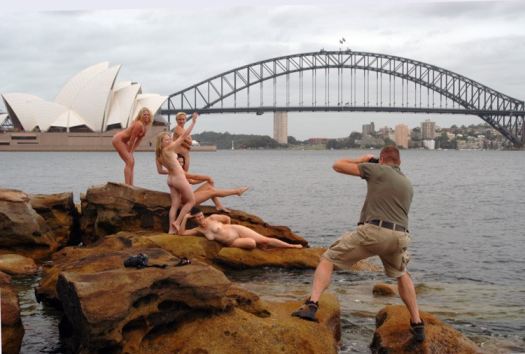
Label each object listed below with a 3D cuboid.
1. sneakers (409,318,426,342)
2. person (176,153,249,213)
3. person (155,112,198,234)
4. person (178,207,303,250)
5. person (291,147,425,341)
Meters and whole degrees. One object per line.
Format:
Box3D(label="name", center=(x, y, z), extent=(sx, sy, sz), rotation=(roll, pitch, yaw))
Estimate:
Box3D(label="sneakers", center=(2.322, 2.200, 8.424), extent=(0.157, 0.160, 0.476), rotation=(-11, 12, 21))
Box3D(label="person", center=(-1.121, 0.119, 12.183), extent=(1.624, 1.227, 0.539), rotation=(-2, -3, 1))
Box3D(label="person", center=(-1.681, -0.050, 11.428), extent=(0.789, 2.367, 0.980), rotation=(-3, 7, -10))
Box3D(label="person", center=(-0.400, 1.060, 11.671), extent=(2.391, 0.785, 0.730), rotation=(1, 19, 16))
Box3D(label="person", center=(1.576, 1.040, 8.494), extent=(1.562, 2.582, 0.527), rotation=(0, 7, 9))
